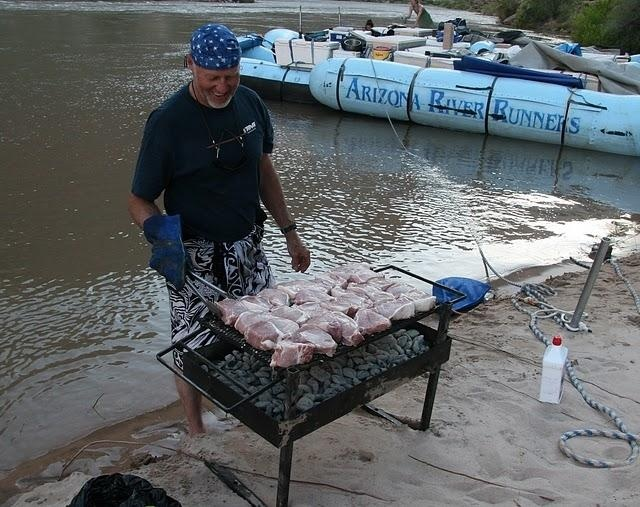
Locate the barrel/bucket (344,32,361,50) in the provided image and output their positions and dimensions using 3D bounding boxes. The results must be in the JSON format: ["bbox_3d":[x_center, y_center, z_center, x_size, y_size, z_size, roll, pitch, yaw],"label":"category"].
[{"bbox_3d":[0.863,-5.923,15.293,0.608,0.177,0.506,1,36,-13],"label":"barrel/bucket"}]

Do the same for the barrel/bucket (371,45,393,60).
[{"bbox_3d":[1.666,-5.564,15.169,0.524,0.229,0.520,-1,16,0],"label":"barrel/bucket"}]
